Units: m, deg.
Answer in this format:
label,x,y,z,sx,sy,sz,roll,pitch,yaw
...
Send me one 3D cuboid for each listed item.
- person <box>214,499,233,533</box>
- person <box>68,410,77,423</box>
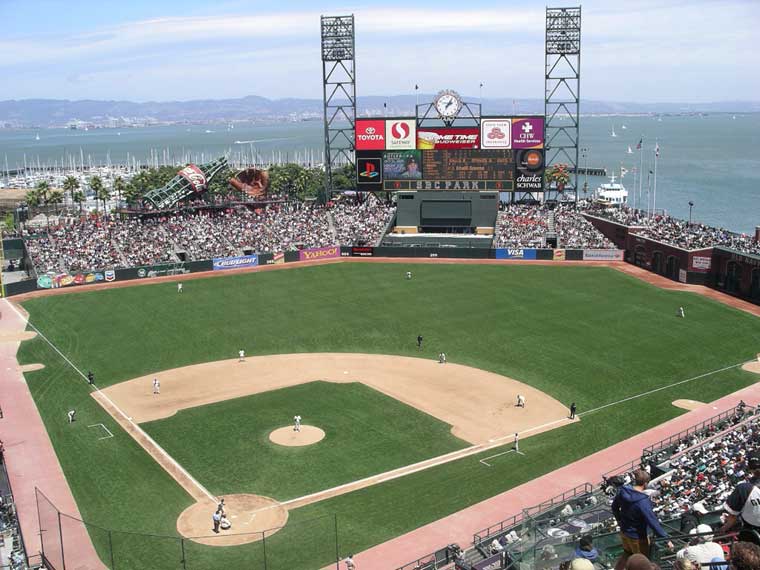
label,x,y,z,sx,sy,sz,roll,pitch,yaw
person,-8.615,12.745,42.185,0.980,1.732,1.153,11,19,37
person,-21.337,8.947,53.032,0.558,0.219,0.832,-10,37,-26
